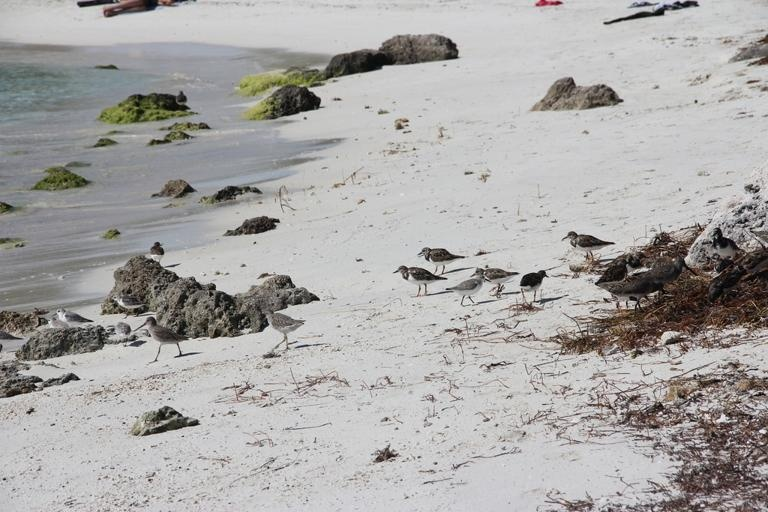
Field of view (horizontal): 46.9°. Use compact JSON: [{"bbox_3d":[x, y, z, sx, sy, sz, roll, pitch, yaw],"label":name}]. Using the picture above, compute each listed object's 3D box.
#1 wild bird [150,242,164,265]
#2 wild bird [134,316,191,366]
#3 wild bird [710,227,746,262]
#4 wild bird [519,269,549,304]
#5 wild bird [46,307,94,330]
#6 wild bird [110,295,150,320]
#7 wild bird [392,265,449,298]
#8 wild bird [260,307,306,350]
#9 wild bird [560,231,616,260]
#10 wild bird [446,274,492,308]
[{"bbox_3d":[-6.423,-0.141,24.581,0.456,0.494,0.743,0,16,-18],"label":"wild bird"},{"bbox_3d":[-5.196,1.770,20.701,0.918,0.861,1.506,-15,21,-18],"label":"wild bird"},{"bbox_3d":[7.263,-0.258,18.898,0.636,0.573,0.448,8,27,35],"label":"wild bird"},{"bbox_3d":[3.389,0.629,20.145,0.524,0.609,0.875,4,23,27],"label":"wild bird"},{"bbox_3d":[-7.943,1.587,21.976,1.081,0.489,0.468,-9,11,25],"label":"wild bird"},{"bbox_3d":[-6.507,1.186,22.478,1.035,0.573,0.534,9,27,37],"label":"wild bird"},{"bbox_3d":[0.891,0.484,21.516,0.831,0.706,1.237,-13,21,-15],"label":"wild bird"},{"bbox_3d":[-2.221,1.625,19.989,1.209,0.725,0.459,4,0,13],"label":"wild bird"},{"bbox_3d":[4.915,-0.283,21.267,0.936,0.612,1.206,-8,20,-4],"label":"wild bird"},{"bbox_3d":[1.897,0.742,20.510,0.928,0.684,0.852,-6,21,3],"label":"wild bird"}]
